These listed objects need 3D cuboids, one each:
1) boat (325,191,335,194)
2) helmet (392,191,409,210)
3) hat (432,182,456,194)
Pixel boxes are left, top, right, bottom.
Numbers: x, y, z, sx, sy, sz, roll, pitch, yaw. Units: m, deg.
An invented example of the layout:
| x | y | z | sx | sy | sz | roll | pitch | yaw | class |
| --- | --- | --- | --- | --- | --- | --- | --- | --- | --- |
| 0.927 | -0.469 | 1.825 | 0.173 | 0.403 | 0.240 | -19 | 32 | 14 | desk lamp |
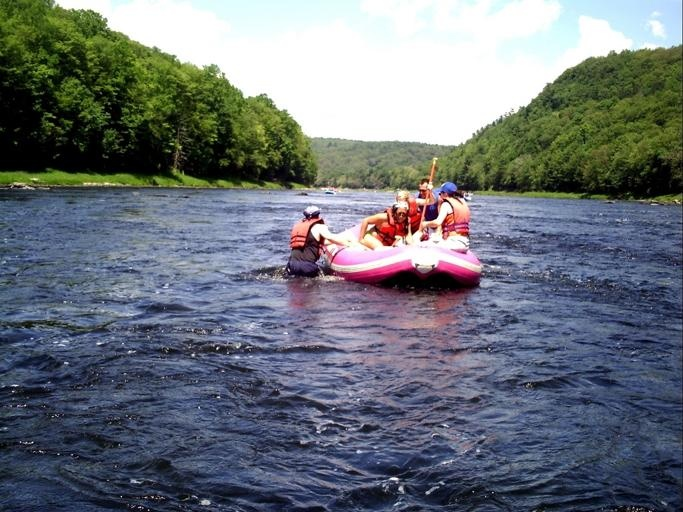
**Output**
| x | y | z | sx | sy | sz | roll | pitch | yaw | class |
| --- | --- | --- | --- | --- | --- | --- | --- | --- | --- |
| -1.455 | -7.989 | 75.154 | 1.456 | 0.471 | 1.636 | 0 | 2 | 9 | boat |
| 1.245 | -1.166 | 12.268 | 0.382 | 0.319 | 0.398 | 3 | 1 | 3 | helmet |
| 2.218 | -1.457 | 12.738 | 0.440 | 0.162 | 0.280 | 2 | 7 | 43 | hat |
